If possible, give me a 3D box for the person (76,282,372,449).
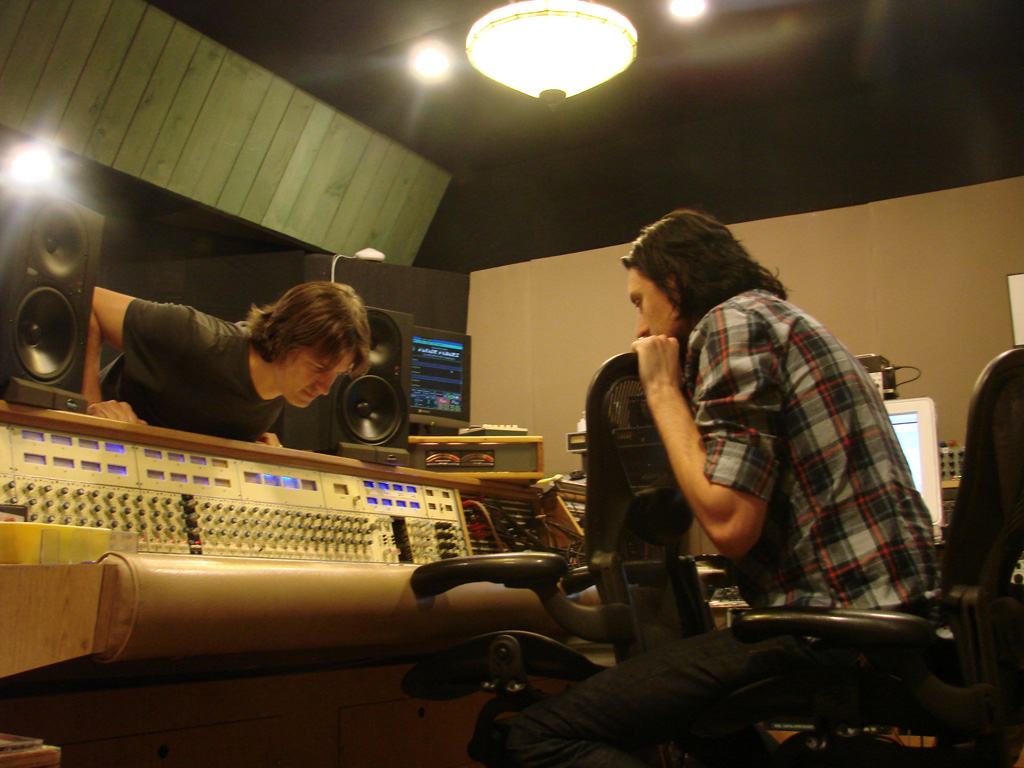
[{"bbox_3d":[-0.826,-0.064,2.373,0.790,0.480,0.231,-1,-12,-4],"label":"person"}]
